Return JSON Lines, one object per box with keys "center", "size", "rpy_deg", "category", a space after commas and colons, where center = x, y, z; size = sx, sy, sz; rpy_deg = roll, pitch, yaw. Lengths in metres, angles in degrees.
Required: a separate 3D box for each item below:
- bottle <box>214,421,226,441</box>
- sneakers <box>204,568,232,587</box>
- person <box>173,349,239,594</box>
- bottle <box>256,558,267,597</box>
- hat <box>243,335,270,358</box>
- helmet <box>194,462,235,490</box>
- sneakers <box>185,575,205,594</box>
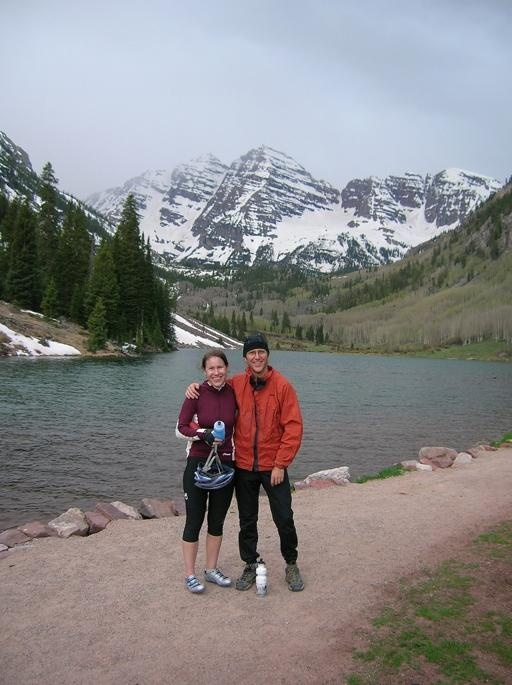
{"center": [-0.512, 1.203, 7.384], "size": [0.158, 0.278, 0.124], "rpy_deg": [0, -2, -14], "category": "bottle"}
{"center": [-0.538, 3.476, 8.063], "size": [0.471, 0.195, 0.174], "rpy_deg": [-9, -3, 44], "category": "sneakers"}
{"center": [-0.691, 1.833, 7.772], "size": [0.789, 3.458, 0.855], "rpy_deg": [-1, -2, 11], "category": "person"}
{"center": [0.073, 3.311, 7.782], "size": [0.154, 0.476, 0.382], "rpy_deg": [-1, -2, -1], "category": "bottle"}
{"center": [-0.007, 0.035, 7.786], "size": [0.341, 0.324, 0.462], "rpy_deg": [-1, -2, -3], "category": "hat"}
{"center": [-0.582, 1.881, 7.544], "size": [0.541, 0.385, 0.318], "rpy_deg": [0, -2, -7], "category": "helmet"}
{"center": [-0.857, 3.450, 7.767], "size": [0.142, 0.134, 0.331], "rpy_deg": [5, -11, -25], "category": "sneakers"}
